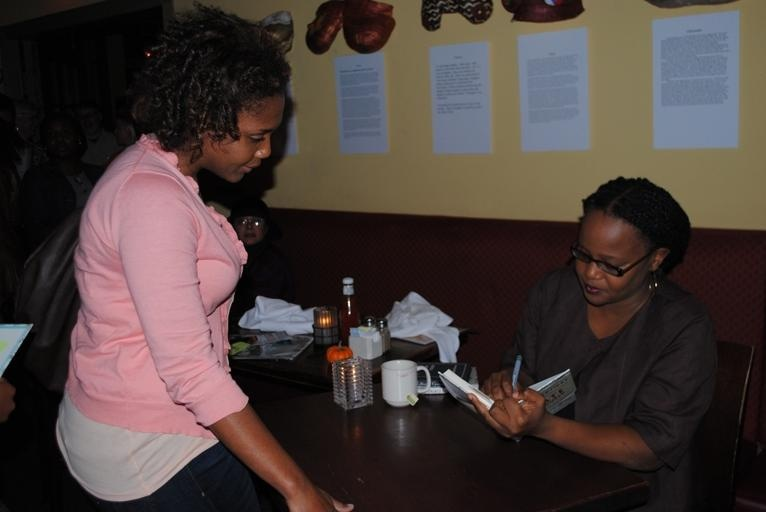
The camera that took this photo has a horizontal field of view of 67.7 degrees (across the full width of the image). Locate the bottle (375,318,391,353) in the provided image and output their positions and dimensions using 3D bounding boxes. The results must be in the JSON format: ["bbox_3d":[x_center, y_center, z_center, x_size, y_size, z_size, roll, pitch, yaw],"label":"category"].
[{"bbox_3d":[0.003,0.351,2.541,0.061,0.138,0.134,-1,9,1],"label":"bottle"}]

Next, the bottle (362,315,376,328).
[{"bbox_3d":[-0.060,0.293,2.554,0.045,0.049,0.044,2,5,-10],"label":"bottle"}]

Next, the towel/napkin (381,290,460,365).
[{"bbox_3d":[0.182,0.378,2.847,0.377,0.139,0.283,23,32,29],"label":"towel/napkin"}]

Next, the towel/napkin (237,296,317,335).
[{"bbox_3d":[-0.527,0.304,2.841,0.273,0.080,0.217,3,7,10],"label":"towel/napkin"}]

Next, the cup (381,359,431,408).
[{"bbox_3d":[0.089,0.435,1.944,0.166,0.115,0.103,-2,-6,-7],"label":"cup"}]

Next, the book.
[{"bbox_3d":[0.403,0.432,1.779,0.265,0.094,0.206,12,28,42],"label":"book"}]
